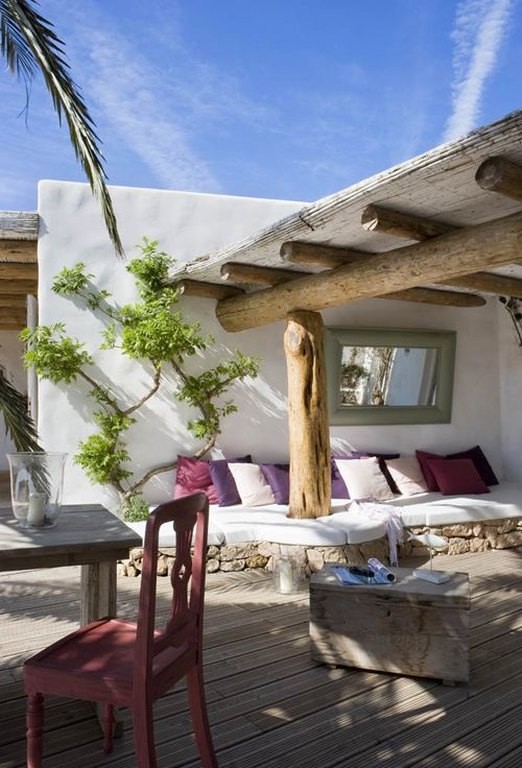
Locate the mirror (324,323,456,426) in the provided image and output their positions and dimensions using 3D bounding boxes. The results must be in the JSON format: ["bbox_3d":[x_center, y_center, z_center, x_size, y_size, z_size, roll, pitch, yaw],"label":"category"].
[{"bbox_3d":[1.425,-0.091,6.506,1.716,1.066,0.177,2,-5,-27],"label":"mirror"}]

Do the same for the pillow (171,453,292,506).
[{"bbox_3d":[-0.271,0.837,5.214,0.899,0.440,0.235,3,-31,-15],"label":"pillow"}]

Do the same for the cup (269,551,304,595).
[{"bbox_3d":[0.198,1.358,4.296,0.253,0.229,0.235,-1,0,0],"label":"cup"}]
